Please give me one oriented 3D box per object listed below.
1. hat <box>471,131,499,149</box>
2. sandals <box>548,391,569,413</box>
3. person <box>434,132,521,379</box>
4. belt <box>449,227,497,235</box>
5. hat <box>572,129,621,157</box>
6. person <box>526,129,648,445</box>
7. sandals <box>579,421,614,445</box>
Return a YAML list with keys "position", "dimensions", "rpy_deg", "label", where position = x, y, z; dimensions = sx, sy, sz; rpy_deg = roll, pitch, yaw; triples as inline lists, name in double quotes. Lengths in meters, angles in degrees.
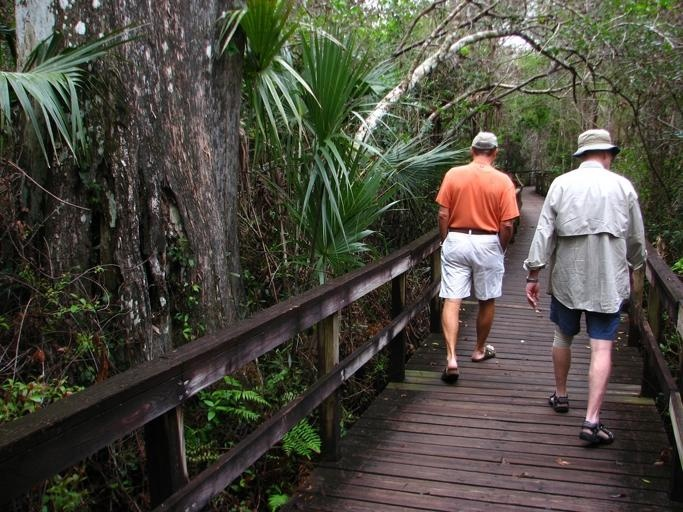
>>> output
- position: [1.216, -0.986, 4.454]
  dimensions: [0.201, 0.155, 0.231]
  rpy_deg: [3, 11, 23]
  label: "hat"
- position: [1.647, 1.099, 3.948]
  dimensions: [0.074, 0.095, 0.206]
  rpy_deg: [0, 11, 13]
  label: "sandals"
- position: [1.154, 0.000, 4.539]
  dimensions: [0.646, 2.119, 0.619]
  rpy_deg: [0, 9, 7]
  label: "person"
- position: [1.098, -0.210, 4.398]
  dimensions: [0.378, 0.063, 0.078]
  rpy_deg: [1, 10, 14]
  label: "belt"
- position: [1.805, -0.803, 3.689]
  dimensions: [0.234, 0.153, 0.231]
  rpy_deg: [-7, 9, -16]
  label: "hat"
- position: [1.663, 0.173, 3.660]
  dimensions: [0.684, 2.077, 0.648]
  rpy_deg: [-9, 12, -40]
  label: "person"
- position: [1.685, 1.178, 3.534]
  dimensions: [0.318, 0.174, 0.115]
  rpy_deg: [6, 4, -30]
  label: "sandals"
